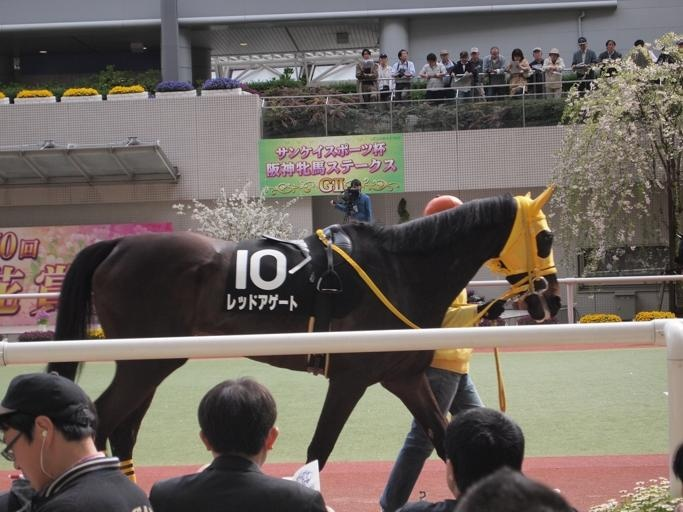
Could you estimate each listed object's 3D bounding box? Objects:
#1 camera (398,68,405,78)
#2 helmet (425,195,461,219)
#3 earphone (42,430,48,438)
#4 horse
[{"bbox_3d":[1.225,-3.815,25.608,0.137,0.189,0.076,2,7,-36],"label":"camera"},{"bbox_3d":[1.323,-0.647,16.364,0.327,0.320,0.332,-23,-1,-6],"label":"helmet"},{"bbox_3d":[-3.535,2.114,14.438,0.055,0.071,0.024,26,-10,-13],"label":"earphone"},{"bbox_3d":[-0.501,1.182,16.538,6.722,4.574,1.560,0,17,-4],"label":"horse"}]
